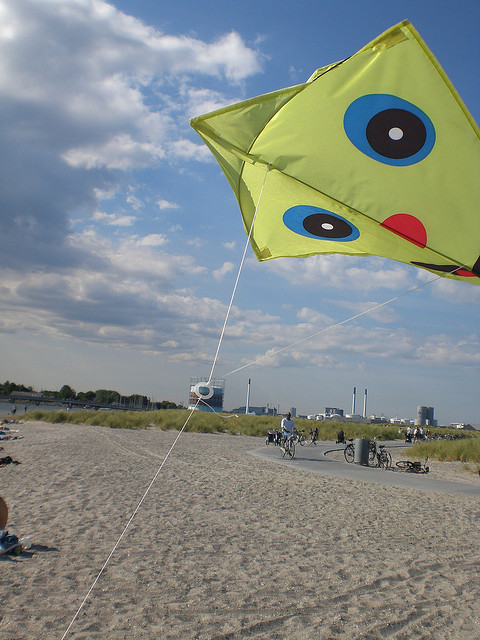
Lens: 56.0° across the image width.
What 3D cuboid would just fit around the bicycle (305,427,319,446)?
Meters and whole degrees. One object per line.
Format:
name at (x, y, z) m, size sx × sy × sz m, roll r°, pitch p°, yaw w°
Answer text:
bicycle at (4.256, 6.858, 26.482) m, size 0.709 × 0.959 × 1.578 m, roll 0°, pitch -8°, yaw 14°

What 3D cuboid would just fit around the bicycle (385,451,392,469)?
bicycle at (5.220, 4.902, 15.875) m, size 0.135 × 0.521 × 0.434 m, roll 0°, pitch -12°, yaw 23°

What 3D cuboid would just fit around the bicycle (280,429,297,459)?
bicycle at (1.962, 4.512, 16.264) m, size 0.625 × 0.761 × 1.230 m, roll 10°, pitch -29°, yaw -5°

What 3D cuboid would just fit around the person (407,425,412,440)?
person at (13.723, 9.161, 36.448) m, size 0.336 × 0.878 × 0.989 m, roll 0°, pitch -11°, yaw 20°

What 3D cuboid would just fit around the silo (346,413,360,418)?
silo at (21.489, 18.161, 85.993) m, size 2.250 × 0.606 × 13.379 m, roll 1°, pitch -11°, yaw 16°

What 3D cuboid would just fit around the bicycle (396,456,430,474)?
bicycle at (6.028, 5.064, 15.647) m, size 0.618 × 0.605 × 1.033 m, roll -12°, pitch -14°, yaw 42°

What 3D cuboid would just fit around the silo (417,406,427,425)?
silo at (36.461, 19.027, 90.041) m, size 1.396 × 3.269 × 4.200 m, roll -1°, pitch -12°, yaw 26°
